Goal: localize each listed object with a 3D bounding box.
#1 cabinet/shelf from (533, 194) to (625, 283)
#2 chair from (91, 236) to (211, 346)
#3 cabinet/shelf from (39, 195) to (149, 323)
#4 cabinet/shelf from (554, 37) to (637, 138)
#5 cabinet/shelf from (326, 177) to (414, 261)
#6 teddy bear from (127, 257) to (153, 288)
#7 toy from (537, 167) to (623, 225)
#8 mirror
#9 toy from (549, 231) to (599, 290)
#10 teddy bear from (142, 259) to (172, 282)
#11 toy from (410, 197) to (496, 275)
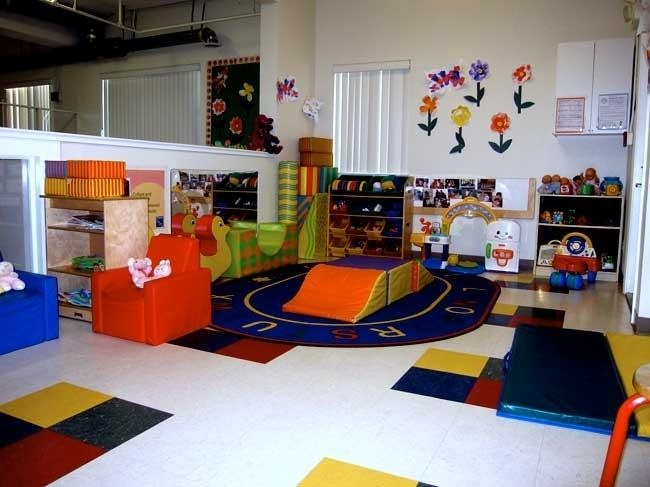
[{"bbox_3d":[3.981,-0.057,7.352,1.291,1.545,0.435,2,-1,22],"label":"cabinet/shelf"},{"bbox_3d":[-1.717,0.436,4.796,0.832,0.905,0.890,6,11,34],"label":"chair"},{"bbox_3d":[-2.387,0.163,4.922,1.227,1.645,0.833,2,3,32],"label":"cabinet/shelf"},{"bbox_3d":[4.108,-2.531,7.195,1.031,1.440,0.790,9,44,35],"label":"cabinet/shelf"},{"bbox_3d":[0.766,-0.479,8.370,1.399,1.413,0.554,4,12,28],"label":"cabinet/shelf"},{"bbox_3d":[-1.845,0.280,4.725,0.285,0.318,0.111,1,-14,-20],"label":"teddy bear"},{"bbox_3d":[4.051,-0.745,7.456,0.833,0.807,0.298,4,14,22],"label":"toy"},{"bbox_3d":[-1.649,-0.556,7.127,1.223,1.095,0.447,-1,-24,-8],"label":"mirror"},{"bbox_3d":[3.700,0.281,7.015,0.615,0.696,1.095,0,1,37],"label":"toy"},{"bbox_3d":[-1.686,0.283,4.744,0.255,0.119,0.223,-16,49,14],"label":"teddy bear"},{"bbox_3d":[2.252,-0.131,8.118,1.227,1.206,0.604,2,2,25],"label":"toy"}]
